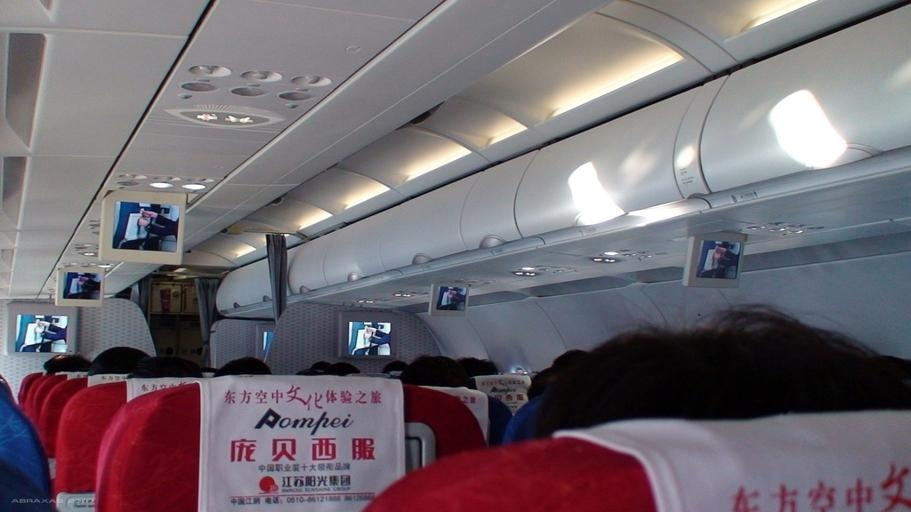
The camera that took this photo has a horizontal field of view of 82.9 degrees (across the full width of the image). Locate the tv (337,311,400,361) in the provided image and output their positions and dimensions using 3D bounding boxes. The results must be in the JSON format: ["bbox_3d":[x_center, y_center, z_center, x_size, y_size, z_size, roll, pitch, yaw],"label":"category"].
[{"bbox_3d":[-2.059,1.869,11.928,1.547,0.892,0.187,7,-24,-31],"label":"tv"}]

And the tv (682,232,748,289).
[{"bbox_3d":[3.156,0.047,6.266,0.914,0.675,0.111,-2,20,-21],"label":"tv"}]

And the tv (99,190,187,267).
[{"bbox_3d":[-3.882,-0.374,6.395,1.155,0.840,0.331,3,-19,-13],"label":"tv"}]

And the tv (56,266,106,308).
[{"bbox_3d":[-8.086,0.674,11.114,0.808,0.795,0.606,4,-17,-32],"label":"tv"}]

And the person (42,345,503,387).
[{"bbox_3d":[-2.626,1.579,7.588,3.644,0.600,0.539,2,-33,-17],"label":"person"}]
